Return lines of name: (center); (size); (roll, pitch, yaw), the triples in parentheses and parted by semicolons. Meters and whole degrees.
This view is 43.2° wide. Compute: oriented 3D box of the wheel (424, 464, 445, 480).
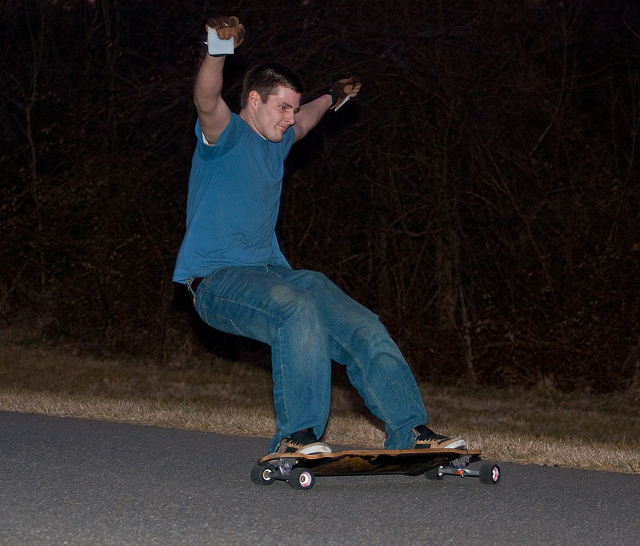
wheel: (0.719, 1.242, 5.062); (0.123, 0.106, 0.101); (1, -3, 9)

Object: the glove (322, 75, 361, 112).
glove: (0.201, -1.507, 6.819); (0.269, 0.365, 0.596); (2, -3, 2)

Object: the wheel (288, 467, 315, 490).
wheel: (-0.102, 1.180, 4.641); (0.146, 0.134, 0.080); (3, -3, -13)

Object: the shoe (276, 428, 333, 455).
shoe: (-0.082, 1.000, 4.775); (0.258, 0.139, 0.325); (4, -4, -22)

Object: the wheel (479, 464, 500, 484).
wheel: (1.033, 1.217, 4.903); (0.113, 0.131, 0.110); (-4, 6, 0)

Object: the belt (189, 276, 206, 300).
belt: (-0.811, 0.102, 5.453); (0.030, 0.130, 0.092); (20, 6, -22)

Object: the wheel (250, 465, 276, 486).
wheel: (-0.332, 1.192, 4.791); (0.139, 0.120, 0.103); (3, -3, -10)

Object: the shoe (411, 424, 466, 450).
shoe: (0.718, 1.013, 4.987); (0.388, 0.173, 0.140); (-4, -3, 15)
